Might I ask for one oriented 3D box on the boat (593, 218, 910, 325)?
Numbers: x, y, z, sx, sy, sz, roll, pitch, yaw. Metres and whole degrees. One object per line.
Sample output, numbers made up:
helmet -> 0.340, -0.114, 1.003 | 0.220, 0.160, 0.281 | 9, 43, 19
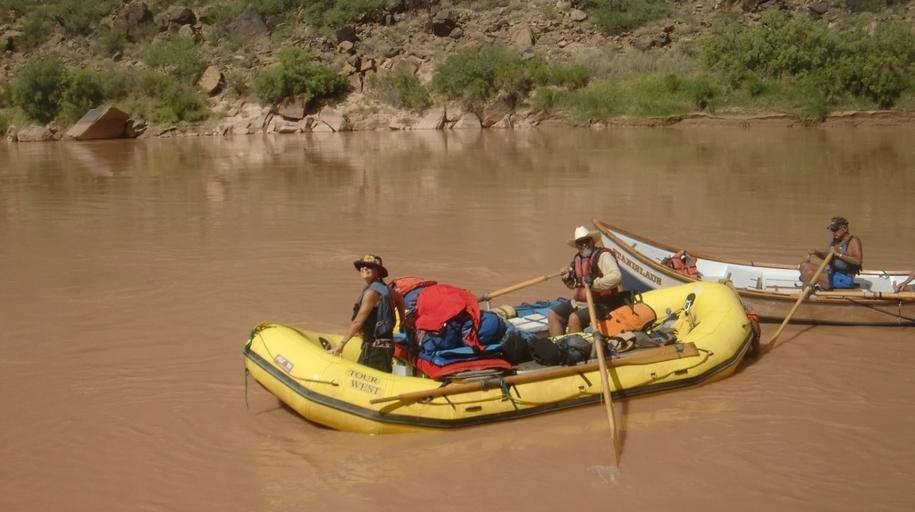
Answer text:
boat -> 13.668, 1.313, 57.470 | 15.931, 3.506, 4.570 | 2, 16, 8

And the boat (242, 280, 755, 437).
boat -> 1.944, 3.876, 57.068 | 21.749, 3.456, 9.222 | -6, 16, -8

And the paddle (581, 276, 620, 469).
paddle -> 5.665, 4.771, 53.527 | 1.133, 6.051, 1.190 | 3, 0, -4
